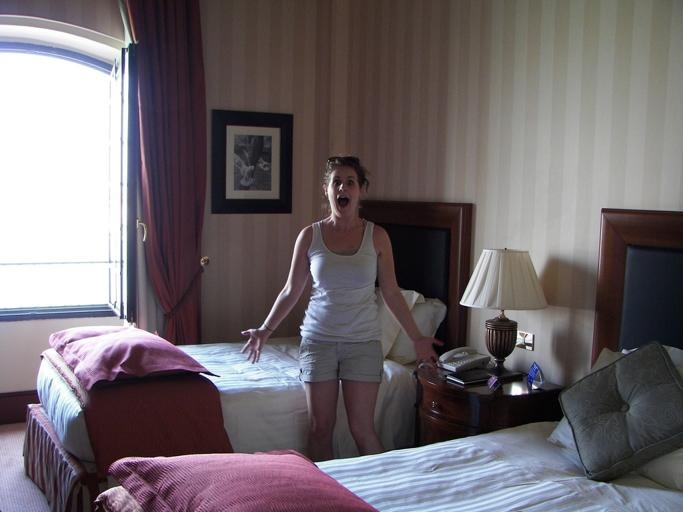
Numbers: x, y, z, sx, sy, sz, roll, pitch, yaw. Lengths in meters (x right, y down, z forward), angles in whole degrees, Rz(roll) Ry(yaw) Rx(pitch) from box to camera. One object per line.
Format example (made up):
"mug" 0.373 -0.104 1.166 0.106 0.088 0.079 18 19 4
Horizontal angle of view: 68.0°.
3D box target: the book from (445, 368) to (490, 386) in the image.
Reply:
"book" 0.748 0.713 2.929 0.141 0.039 0.115 -3 5 -29

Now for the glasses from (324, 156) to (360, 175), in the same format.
"glasses" 0.009 -0.534 2.984 0.140 0.082 0.204 2 4 -7

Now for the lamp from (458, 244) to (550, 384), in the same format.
"lamp" 0.989 0.348 3.366 0.609 1.057 0.657 0 2 -17

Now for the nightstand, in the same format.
"nightstand" 0.823 0.864 2.862 0.464 0.696 0.642 2 0 -23

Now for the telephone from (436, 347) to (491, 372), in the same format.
"telephone" 0.742 0.631 3.063 0.216 0.098 0.161 -1 1 -32

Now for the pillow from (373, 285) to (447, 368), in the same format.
"pillow" 0.484 0.519 3.632 0.471 0.533 0.149 -4 -8 35
